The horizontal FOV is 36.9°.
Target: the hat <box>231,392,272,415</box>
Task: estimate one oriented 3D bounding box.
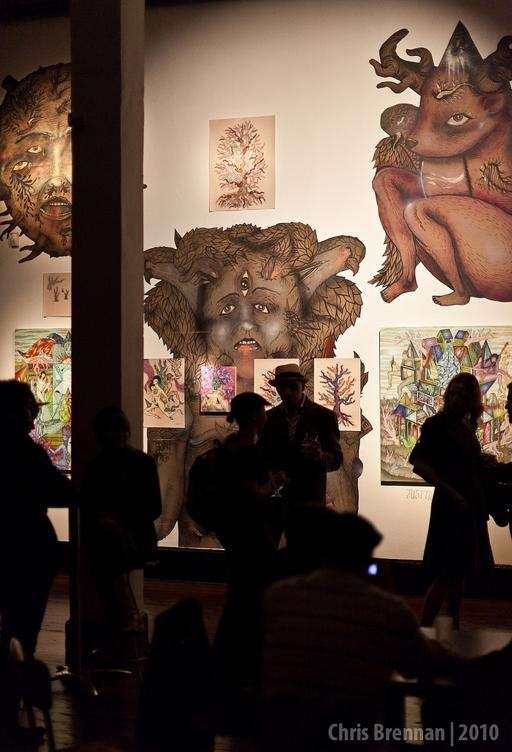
[{"bbox_3d":[-0.032,0.137,3.892,0.131,0.045,0.135,-7,9,-18],"label":"hat"}]
